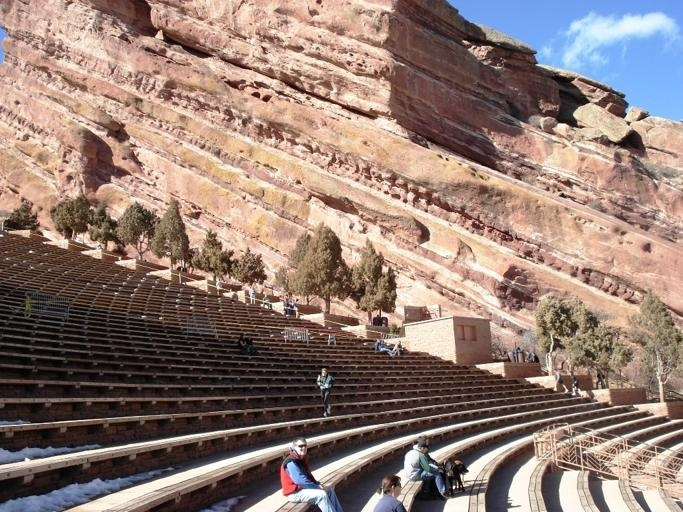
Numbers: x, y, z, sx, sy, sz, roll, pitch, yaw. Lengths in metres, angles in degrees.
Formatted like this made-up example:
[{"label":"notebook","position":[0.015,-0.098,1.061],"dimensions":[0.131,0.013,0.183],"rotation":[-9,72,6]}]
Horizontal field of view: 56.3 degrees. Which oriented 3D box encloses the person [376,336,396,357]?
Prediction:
[{"label":"person","position":[2.018,4.229,28.865],"dimensions":[0.809,0.336,0.662],"rotation":[26,4,16]}]
